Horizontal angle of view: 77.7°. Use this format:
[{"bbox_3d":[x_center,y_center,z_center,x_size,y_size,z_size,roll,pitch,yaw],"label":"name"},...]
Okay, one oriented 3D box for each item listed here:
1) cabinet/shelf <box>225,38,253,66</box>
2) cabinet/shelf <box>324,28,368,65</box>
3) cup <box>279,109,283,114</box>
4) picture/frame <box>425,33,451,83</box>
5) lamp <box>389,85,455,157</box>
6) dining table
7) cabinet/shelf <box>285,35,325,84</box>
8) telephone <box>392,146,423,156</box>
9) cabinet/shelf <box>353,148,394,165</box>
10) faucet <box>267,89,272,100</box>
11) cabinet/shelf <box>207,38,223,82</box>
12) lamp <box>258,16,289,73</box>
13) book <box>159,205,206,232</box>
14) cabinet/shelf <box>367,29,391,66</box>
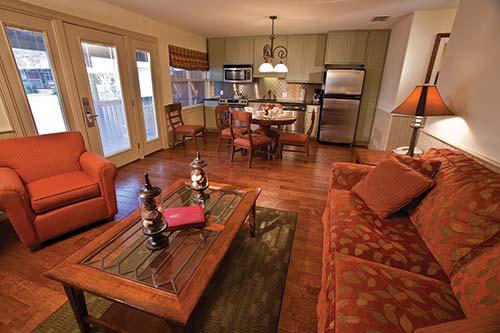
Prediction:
[{"bbox_3d":[-0.250,-2.853,7.622,0.688,0.548,0.212,5,21,15],"label":"cabinet/shelf"},{"bbox_3d":[2.104,-2.601,6.678,0.760,0.612,0.249,4,26,10],"label":"cabinet/shelf"},{"bbox_3d":[0.616,-1.098,6.195,0.100,0.091,0.079,1,3,18],"label":"cup"},{"bbox_3d":[3.208,-1.841,5.314,0.262,0.823,0.169,3,24,9],"label":"picture/frame"},{"bbox_3d":[2.165,-0.557,3.916,0.552,0.911,0.510,-16,27,-33],"label":"lamp"},{"bbox_3d":[0.450,-0.626,6.045,0.823,0.561,0.770,-1,26,4],"label":"dining table"},{"bbox_3d":[1.305,-2.523,7.174,1.185,1.283,0.456,4,24,12],"label":"cabinet/shelf"},{"bbox_3d":[2.131,-0.208,4.192,0.298,0.083,0.216,-2,18,21],"label":"telephone"},{"bbox_3d":[1.702,-0.142,4.328,0.353,0.312,0.330,-8,27,-7],"label":"cabinet/shelf"},{"bbox_3d":[0.499,-1.840,7.926,0.100,0.230,0.159,0,22,3],"label":"faucet"},{"bbox_3d":[-0.871,-2.732,7.925,0.465,1.002,0.113,12,27,28],"label":"cabinet/shelf"},{"bbox_3d":[0.517,-2.642,6.645,0.784,1.219,0.734,8,36,13],"label":"lamp"},{"bbox_3d":[-0.687,0.530,3.236,0.387,0.072,0.236,-3,37,-9],"label":"book"},{"bbox_3d":[2.703,-2.528,6.561,0.379,0.637,0.120,8,25,21],"label":"cabinet/shelf"}]
